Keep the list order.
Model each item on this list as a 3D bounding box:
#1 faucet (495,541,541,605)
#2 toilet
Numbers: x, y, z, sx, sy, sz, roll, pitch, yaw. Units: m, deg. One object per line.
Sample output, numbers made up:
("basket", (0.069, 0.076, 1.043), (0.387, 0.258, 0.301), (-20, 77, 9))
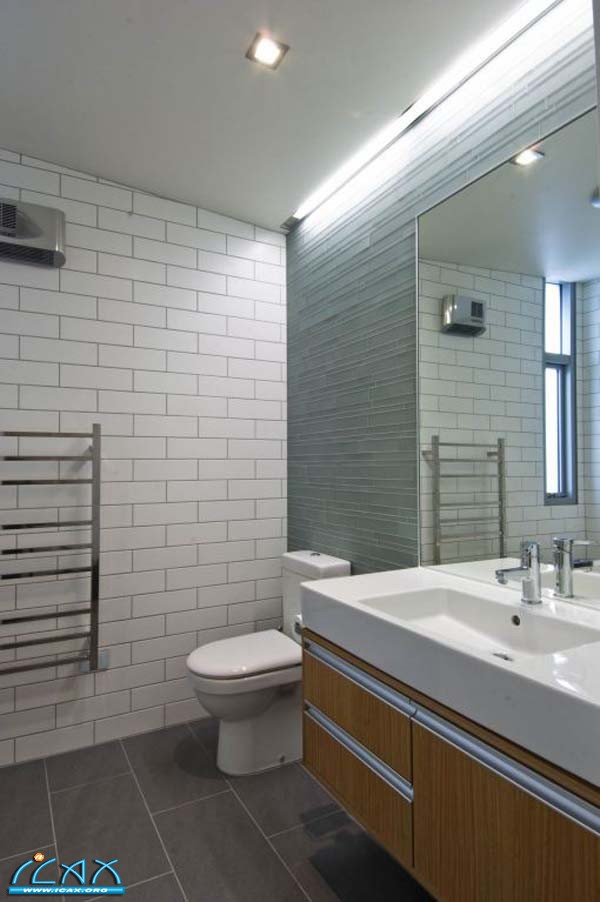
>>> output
("faucet", (0.556, 0.314, 1.650), (0.103, 0.164, 0.051), (-9, 15, -7))
("toilet", (-0.128, 0.794, 2.488), (0.575, 0.715, 0.340), (-4, 8, -33))
